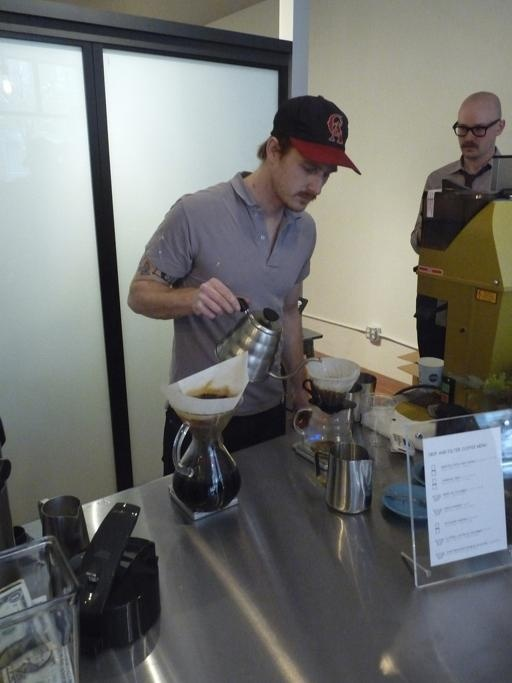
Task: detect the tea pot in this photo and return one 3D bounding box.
[{"bbox_3d":[0.015,0.011,1.226,0.185,0.146,0.125,44,33,26],"label":"tea pot"}]

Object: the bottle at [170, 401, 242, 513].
[{"bbox_3d":[-0.102,0.219,1.025,0.139,0.192,0.117,-7,13,-34],"label":"bottle"}]

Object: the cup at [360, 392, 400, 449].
[{"bbox_3d":[0.292,0.188,1.348,0.106,0.130,0.106,6,-12,1],"label":"cup"}]

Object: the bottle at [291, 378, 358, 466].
[{"bbox_3d":[0.175,0.189,1.366,0.161,0.187,0.128,-4,-8,42],"label":"bottle"}]

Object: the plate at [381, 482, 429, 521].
[{"bbox_3d":[0.275,0.295,1.026,0.075,0.021,0.082,-6,27,12],"label":"plate"}]

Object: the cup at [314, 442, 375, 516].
[{"bbox_3d":[0.162,0.269,1.092,0.138,0.109,0.082,6,7,34],"label":"cup"}]

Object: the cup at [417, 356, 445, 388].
[{"bbox_3d":[0.473,0.081,1.507,0.066,0.080,0.073,-3,20,1],"label":"cup"}]

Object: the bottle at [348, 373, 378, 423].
[{"bbox_3d":[0.270,0.147,1.404,0.068,0.117,0.120,0,23,1],"label":"bottle"}]
